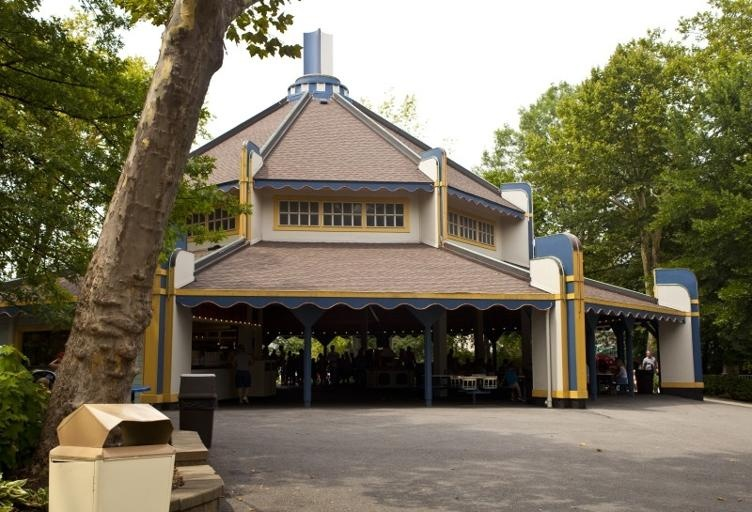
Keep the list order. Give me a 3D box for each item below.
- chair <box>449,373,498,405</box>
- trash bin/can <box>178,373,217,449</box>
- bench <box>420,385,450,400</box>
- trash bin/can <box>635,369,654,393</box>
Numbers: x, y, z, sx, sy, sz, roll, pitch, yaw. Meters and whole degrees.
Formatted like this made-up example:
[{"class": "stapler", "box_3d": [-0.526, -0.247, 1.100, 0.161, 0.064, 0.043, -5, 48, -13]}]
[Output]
[{"class": "chair", "box_3d": [3.531, 4.742, 23.499, 1.503, 1.142, 3.955, -2, -16, 5]}, {"class": "trash bin/can", "box_3d": [-3.347, 2.852, 12.219, 0.633, 1.346, 0.724, 4, -15, -17]}, {"class": "bench", "box_3d": [2.324, 5.195, 24.768, 0.885, 0.699, 3.631, -3, -16, 7]}, {"class": "trash bin/can", "box_3d": [11.478, 5.275, 27.847, 0.805, 0.949, 0.901, 1, -23, -1]}]
